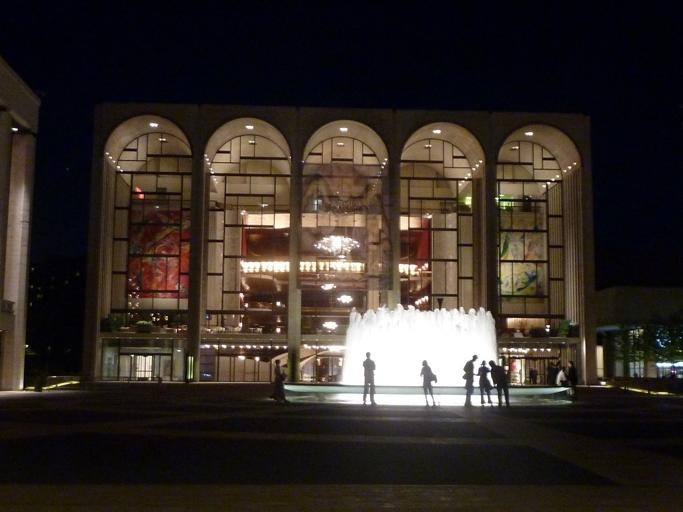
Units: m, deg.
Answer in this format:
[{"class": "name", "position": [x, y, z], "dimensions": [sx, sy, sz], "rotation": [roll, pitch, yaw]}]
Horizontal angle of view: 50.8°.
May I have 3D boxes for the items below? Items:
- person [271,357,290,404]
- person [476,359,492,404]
[{"class": "person", "position": [-2.407, 4.948, 28.226], "dimensions": [0.571, 1.568, 1.998], "rotation": [1, -11, -4]}, {"class": "person", "position": [5.097, 4.509, 25.725], "dimensions": [0.465, 1.576, 1.160], "rotation": [-2, -11, 12]}]
